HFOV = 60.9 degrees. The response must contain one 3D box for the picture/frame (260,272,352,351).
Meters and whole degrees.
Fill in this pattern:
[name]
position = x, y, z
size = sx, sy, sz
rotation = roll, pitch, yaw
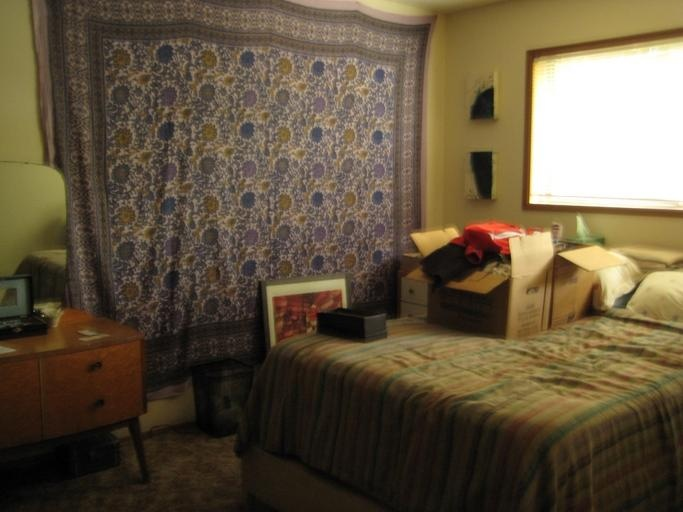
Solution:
[picture/frame]
position = -0.284, 0.376, 3.946
size = 0.544, 0.450, 0.033
rotation = -5, -1, -35
